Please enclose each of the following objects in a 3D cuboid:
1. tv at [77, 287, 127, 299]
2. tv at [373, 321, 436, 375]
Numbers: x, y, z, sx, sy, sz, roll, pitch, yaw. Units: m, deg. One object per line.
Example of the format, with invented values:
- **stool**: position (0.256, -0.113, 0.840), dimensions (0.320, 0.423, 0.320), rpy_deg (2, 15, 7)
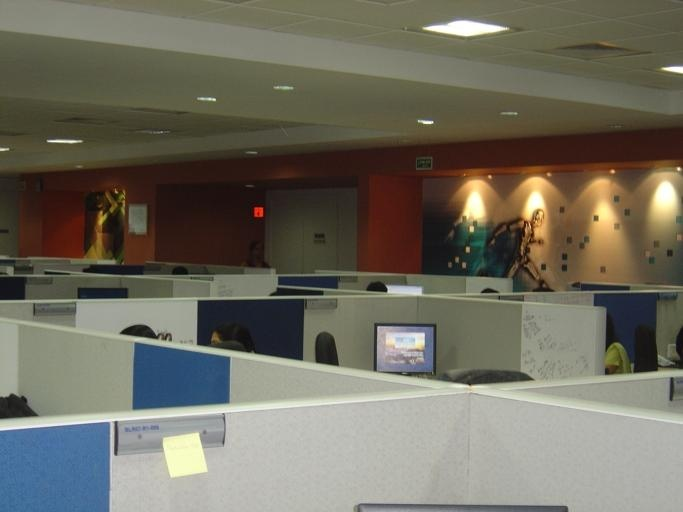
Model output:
- **tv**: position (-2.021, 0.315, 5.290), dimensions (0.536, 0.107, 0.245), rpy_deg (3, 0, 43)
- **tv**: position (0.394, 0.569, 3.823), dimensions (0.416, 0.354, 0.042), rpy_deg (1, -1, -4)
